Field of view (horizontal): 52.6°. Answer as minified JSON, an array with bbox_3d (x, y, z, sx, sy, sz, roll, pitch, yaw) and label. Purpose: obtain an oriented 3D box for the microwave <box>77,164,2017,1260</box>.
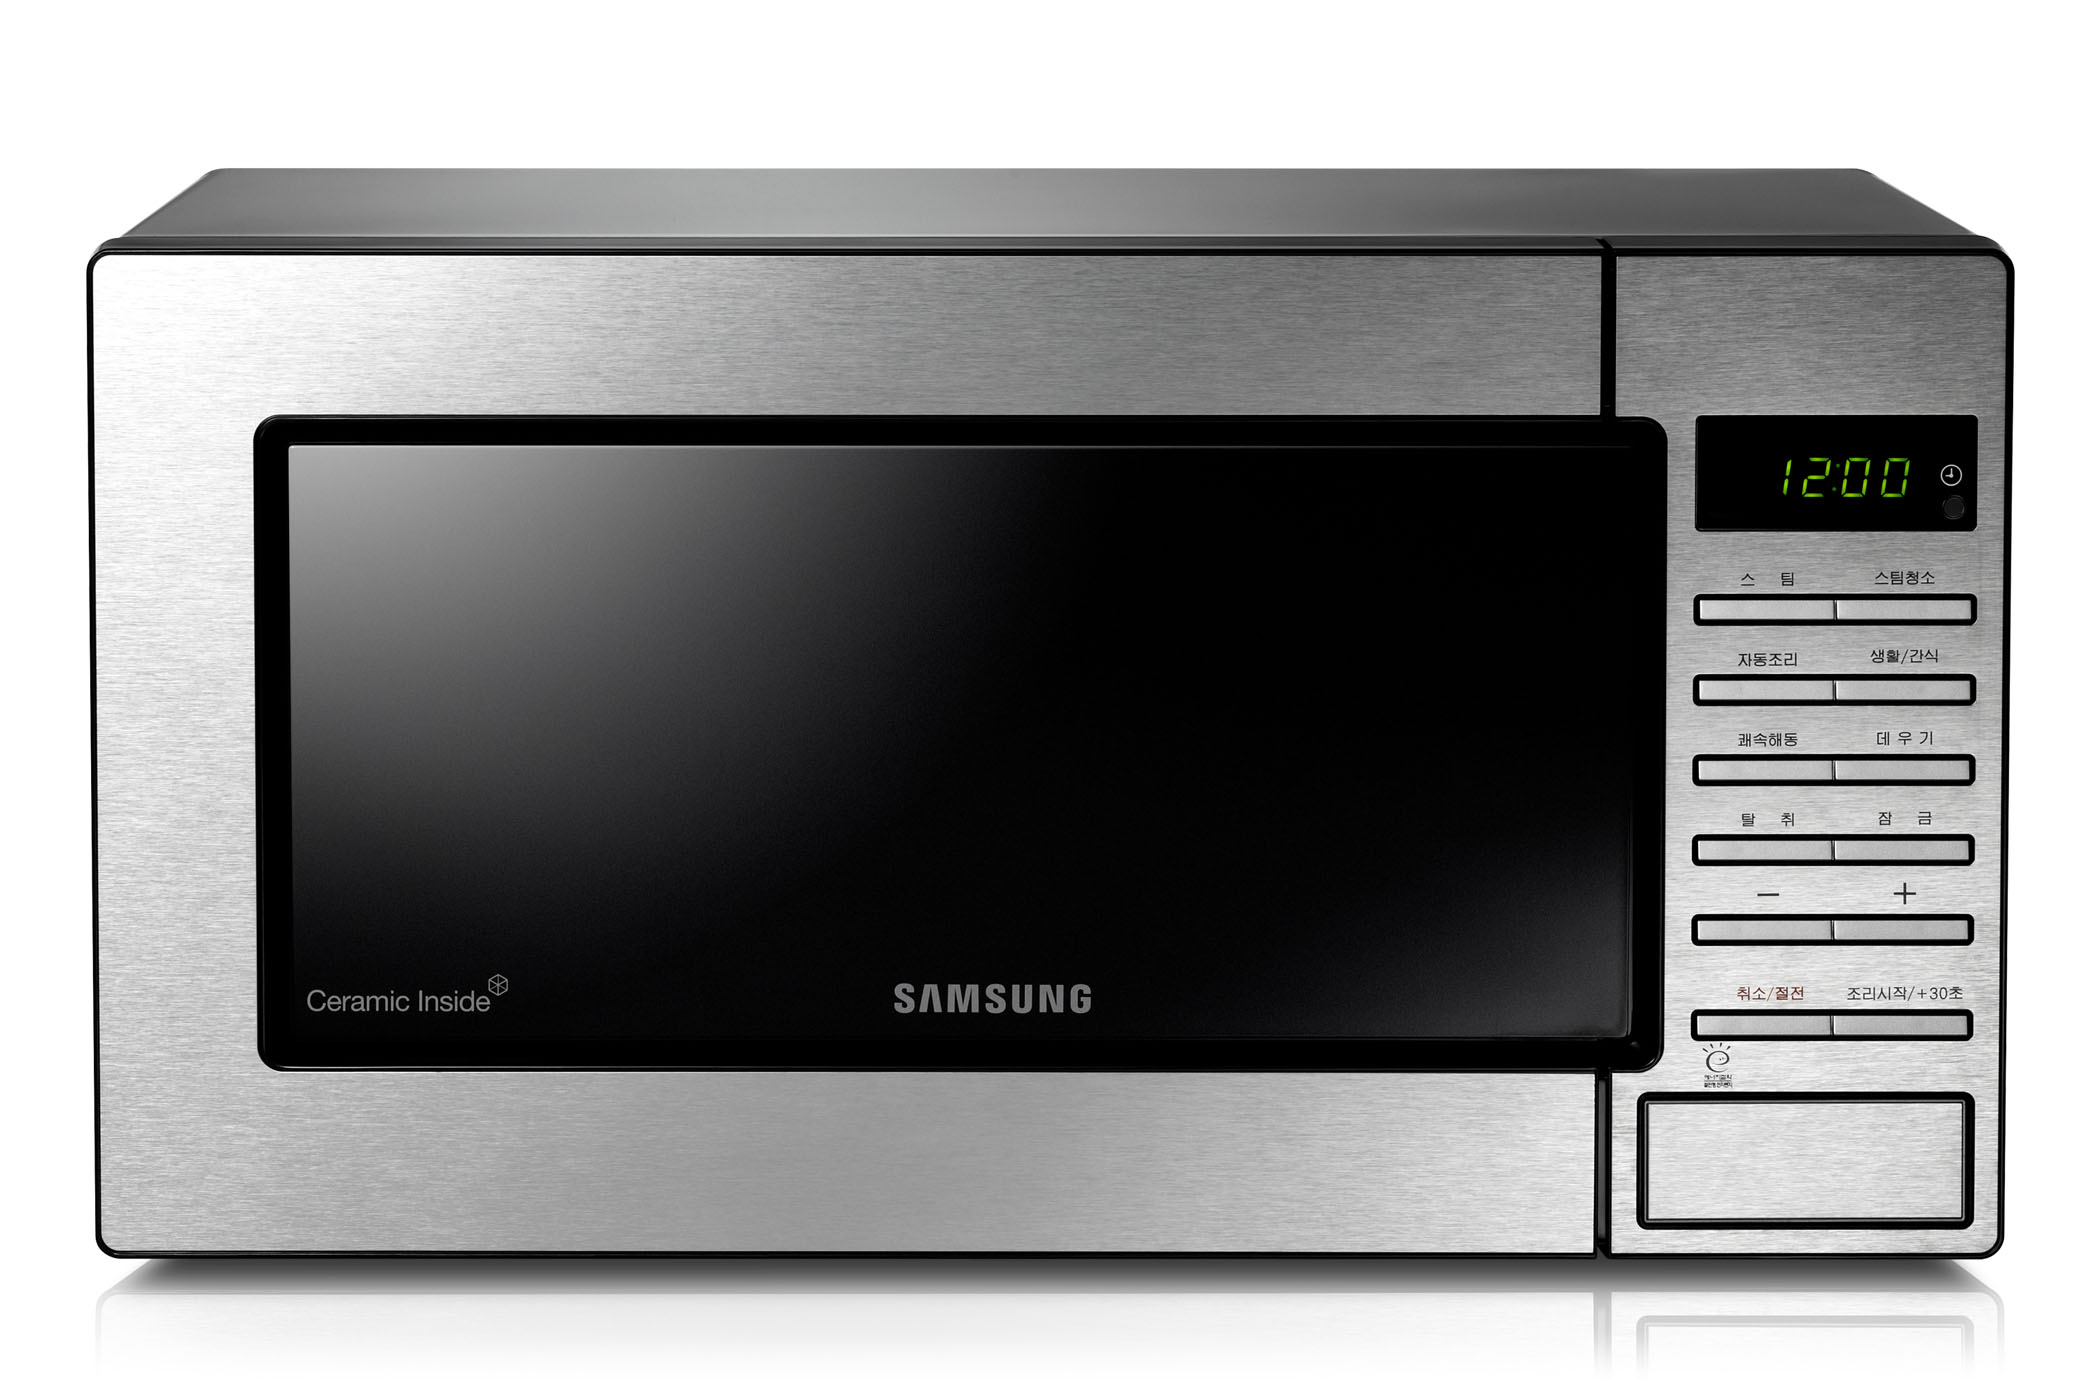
[{"bbox_3d":[0.012,0.012,1.093,1.278,0.518,0.445,0,-83,-1],"label":"microwave"}]
